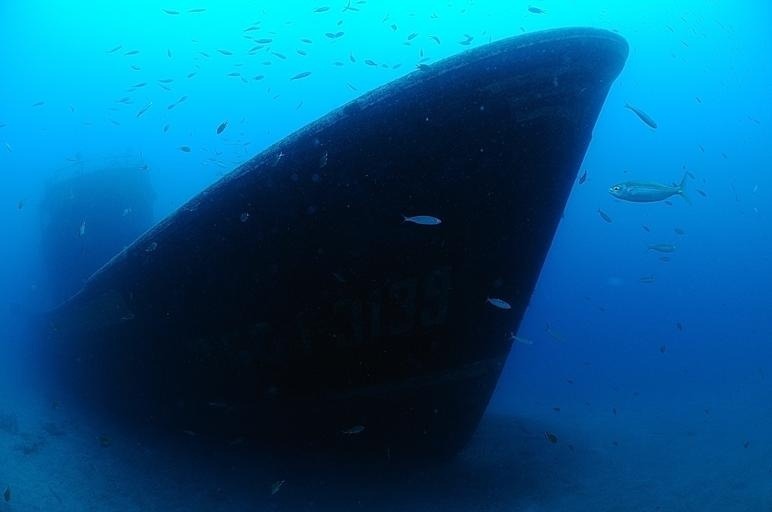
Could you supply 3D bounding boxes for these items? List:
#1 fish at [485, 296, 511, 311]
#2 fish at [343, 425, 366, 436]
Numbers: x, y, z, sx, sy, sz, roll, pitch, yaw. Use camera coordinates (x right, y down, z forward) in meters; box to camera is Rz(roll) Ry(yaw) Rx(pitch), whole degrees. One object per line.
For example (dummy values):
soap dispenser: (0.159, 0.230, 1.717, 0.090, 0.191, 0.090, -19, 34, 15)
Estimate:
fish: (2.592, 1.071, 15.410, 0.634, 0.287, 0.176, 1, 8, -14)
fish: (-0.728, 4.010, 15.827, 0.451, 0.287, 0.238, 6, 8, 22)
